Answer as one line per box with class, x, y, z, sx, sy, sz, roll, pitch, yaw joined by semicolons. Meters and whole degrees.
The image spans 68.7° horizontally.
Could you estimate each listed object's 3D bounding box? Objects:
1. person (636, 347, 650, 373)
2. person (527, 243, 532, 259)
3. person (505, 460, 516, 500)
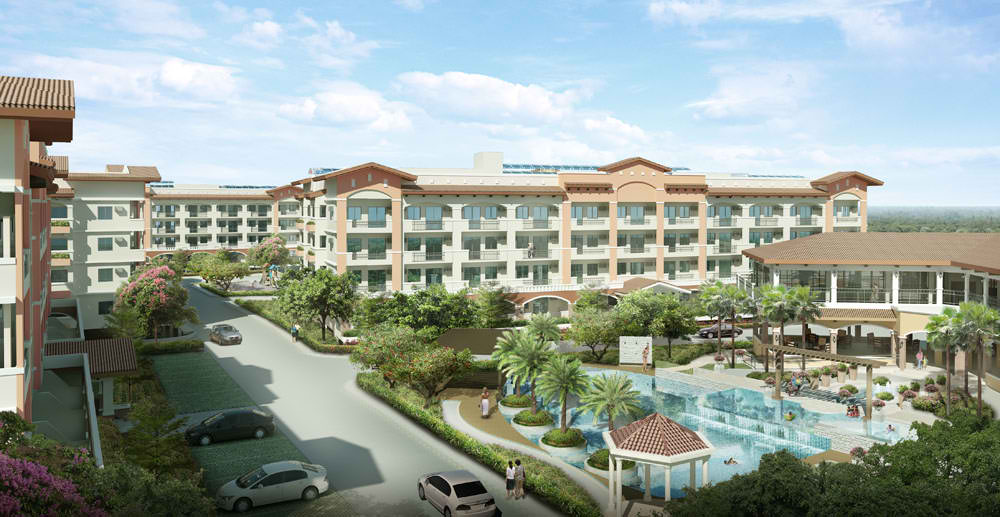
person;15.869;10.924;79.850;0.881;2.819;1.299;1;-1;18
person;4.035;-0.947;99.767;0.932;1.299;0.219;1;-1;-32
person;0.830;17.494;57.887;0.765;2.079;0.747;1;-1;-3
